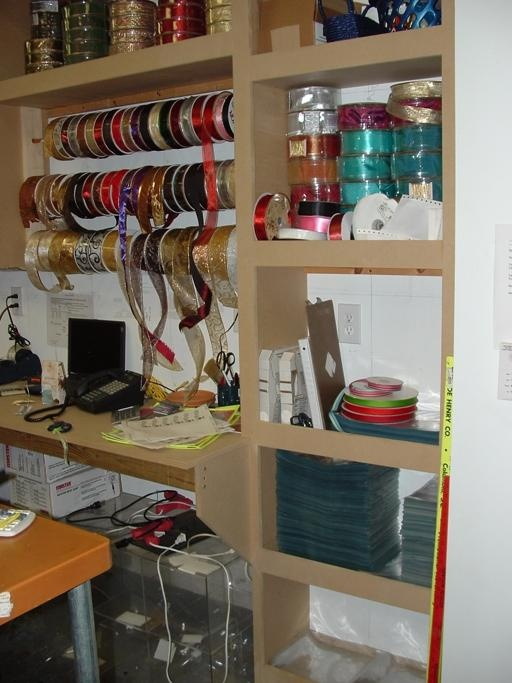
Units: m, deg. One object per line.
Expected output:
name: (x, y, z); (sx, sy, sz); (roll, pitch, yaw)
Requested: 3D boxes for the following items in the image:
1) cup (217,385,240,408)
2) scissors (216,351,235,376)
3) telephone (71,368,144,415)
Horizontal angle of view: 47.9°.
cup: (-0.093, 0.181, 1.913); (0.077, 0.072, 0.070); (1, -2, 0)
scissors: (-0.102, 0.067, 1.962); (0.082, 0.075, 0.020); (6, 20, 33)
telephone: (-0.537, 0.172, 2.133); (0.272, 0.090, 0.264); (7, 14, 30)
